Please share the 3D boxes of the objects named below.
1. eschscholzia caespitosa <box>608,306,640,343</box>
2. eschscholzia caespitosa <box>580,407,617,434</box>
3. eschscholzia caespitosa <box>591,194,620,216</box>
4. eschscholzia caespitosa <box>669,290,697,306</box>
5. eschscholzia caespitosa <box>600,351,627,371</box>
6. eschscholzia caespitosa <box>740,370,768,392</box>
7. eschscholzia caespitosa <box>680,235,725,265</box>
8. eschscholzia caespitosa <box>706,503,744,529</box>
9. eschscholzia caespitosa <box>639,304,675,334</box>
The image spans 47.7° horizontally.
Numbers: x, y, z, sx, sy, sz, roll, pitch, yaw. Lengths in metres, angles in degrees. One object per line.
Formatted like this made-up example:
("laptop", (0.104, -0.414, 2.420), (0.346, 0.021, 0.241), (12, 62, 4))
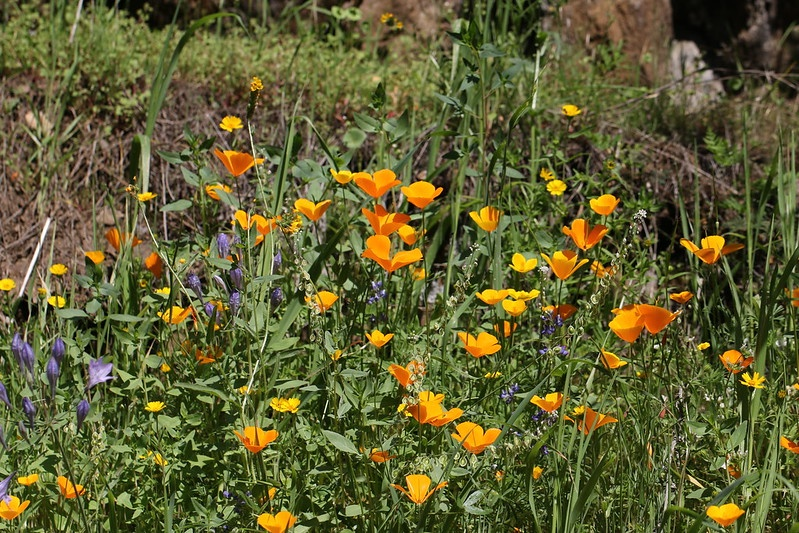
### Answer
("eschscholzia caespitosa", (0.830, 0.210, 3.333), (0.117, 0.121, 0.199), (5, 4, 13))
("eschscholzia caespitosa", (0.724, 0.537, 3.328), (0.102, 0.074, 0.117), (2, 3, -35))
("eschscholzia caespitosa", (0.825, -0.247, 3.620), (0.087, 0.082, 0.103), (-3, 32, 43))
("eschscholzia caespitosa", (1.105, 0.116, 3.518), (0.083, 0.058, 0.093), (-5, 9, -25))
("eschscholzia caespitosa", (0.792, 0.335, 3.372), (0.090, 0.048, 0.098), (35, -4, 36))
("eschscholzia caespitosa", (1.319, 0.434, 3.397), (0.065, 0.046, 0.081), (-8, 26, 2))
("eschscholzia caespitosa", (1.156, -0.066, 3.462), (0.208, 0.107, 0.147), (1, 5, -42))
("eschscholzia caespitosa", (1.117, 0.840, 3.112), (0.085, 0.060, 0.097), (2, 16, 36))
("eschscholzia caespitosa", (0.919, 0.206, 3.229), (0.089, 0.083, 0.103), (10, -9, -20))
